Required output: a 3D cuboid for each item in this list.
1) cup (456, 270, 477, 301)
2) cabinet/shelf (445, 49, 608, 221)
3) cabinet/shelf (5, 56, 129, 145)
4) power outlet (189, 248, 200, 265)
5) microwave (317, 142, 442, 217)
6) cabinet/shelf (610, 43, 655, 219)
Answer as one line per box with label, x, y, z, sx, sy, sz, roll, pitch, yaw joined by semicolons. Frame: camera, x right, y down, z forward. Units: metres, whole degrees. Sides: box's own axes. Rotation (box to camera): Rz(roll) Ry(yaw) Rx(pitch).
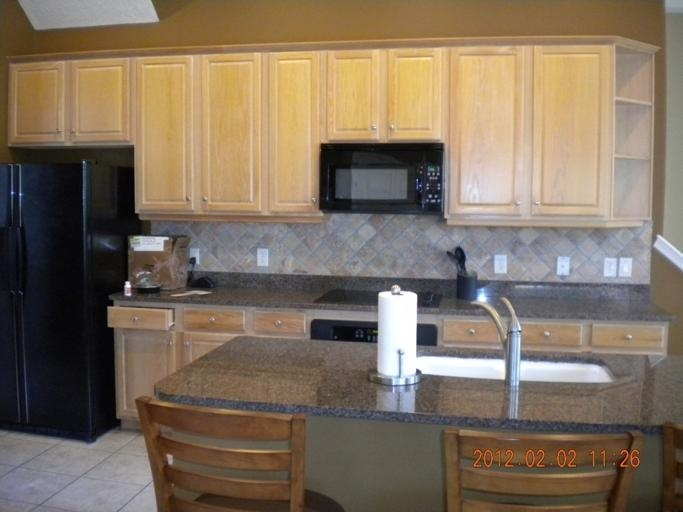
cup;0.874;0.206;4.267;0.134;0.174;0.197;1;9;8
cabinet/shelf;1.257;-0.826;4.022;1.266;1.245;0.547;0;4;6
cabinet/shelf;-1.987;-1.166;4.542;0.786;0.447;0.262;1;1;9
power outlet;-1.138;-0.003;4.761;0.077;0.124;0.027;2;10;15
microwave;0.253;-0.505;4.131;0.872;0.464;0.501;1;1;7
cabinet/shelf;1.929;-0.805;4.056;0.333;1.138;0.230;-2;10;-6
